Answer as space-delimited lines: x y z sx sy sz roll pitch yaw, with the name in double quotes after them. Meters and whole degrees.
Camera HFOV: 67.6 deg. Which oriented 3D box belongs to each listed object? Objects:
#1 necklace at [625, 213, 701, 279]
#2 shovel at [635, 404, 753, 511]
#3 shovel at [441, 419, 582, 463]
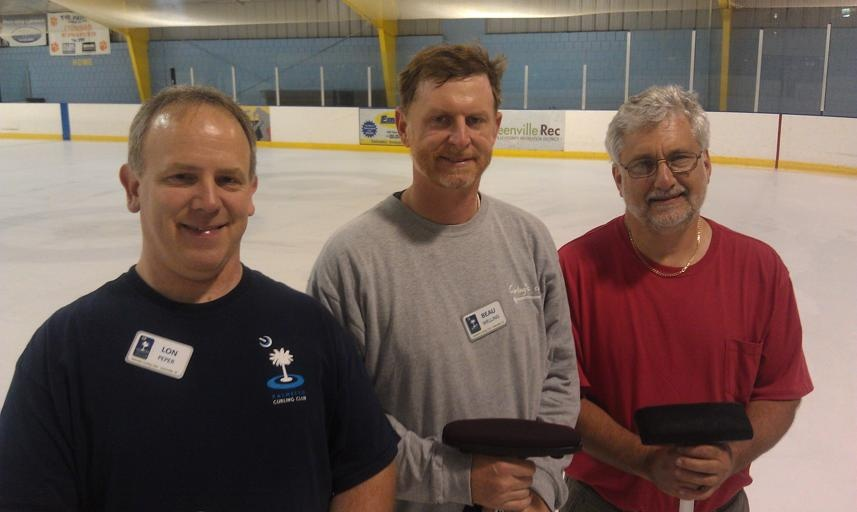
0.973 -0.039 2.615 0.232 0.263 0.064 -18 -1 5 "necklace"
0.822 0.627 2.075 0.302 0.496 0.148 -3 45 2 "shovel"
0.259 0.569 2.007 0.421 0.098 0.083 1 13 6 "shovel"
